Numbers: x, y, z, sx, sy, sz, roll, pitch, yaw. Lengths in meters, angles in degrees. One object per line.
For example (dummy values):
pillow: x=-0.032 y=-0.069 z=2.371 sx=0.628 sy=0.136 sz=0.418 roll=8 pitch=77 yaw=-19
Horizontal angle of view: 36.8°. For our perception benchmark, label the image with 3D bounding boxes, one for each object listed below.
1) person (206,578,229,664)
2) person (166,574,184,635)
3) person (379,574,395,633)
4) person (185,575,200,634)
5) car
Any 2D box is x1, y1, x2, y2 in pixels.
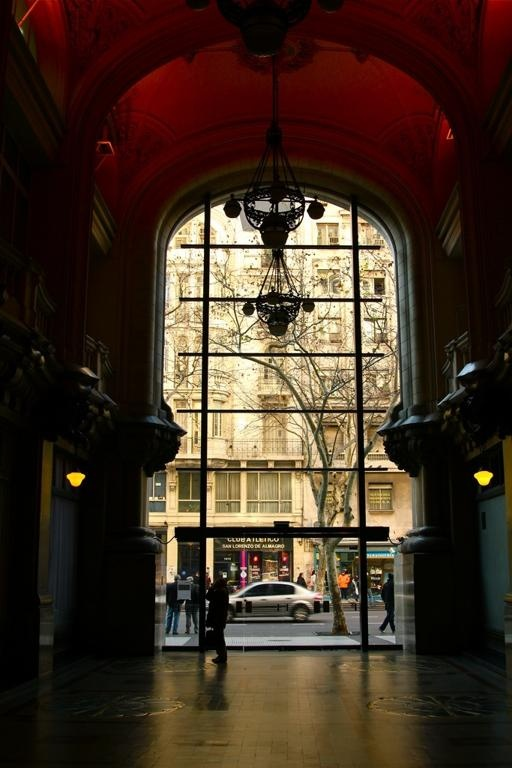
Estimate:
person: x=-0.608 y=3.609 z=11.766 sx=0.321 sy=1.299 sz=0.782 roll=1 pitch=-13 yaw=-4
person: x=-1.632 y=4.373 z=15.283 sx=0.313 sy=1.105 sz=1.100 roll=1 pitch=-13 yaw=-7
person: x=2.532 y=4.290 z=15.111 sx=0.299 sy=1.070 sz=0.658 roll=-2 pitch=-13 yaw=7
person: x=-1.196 y=4.095 z=14.260 sx=0.214 sy=1.043 sz=0.740 roll=3 pitch=-13 yaw=-17
car: x=0.219 y=4.173 z=14.760 sx=2.130 sy=0.916 sz=1.094 roll=2 pitch=-13 yaw=-5
